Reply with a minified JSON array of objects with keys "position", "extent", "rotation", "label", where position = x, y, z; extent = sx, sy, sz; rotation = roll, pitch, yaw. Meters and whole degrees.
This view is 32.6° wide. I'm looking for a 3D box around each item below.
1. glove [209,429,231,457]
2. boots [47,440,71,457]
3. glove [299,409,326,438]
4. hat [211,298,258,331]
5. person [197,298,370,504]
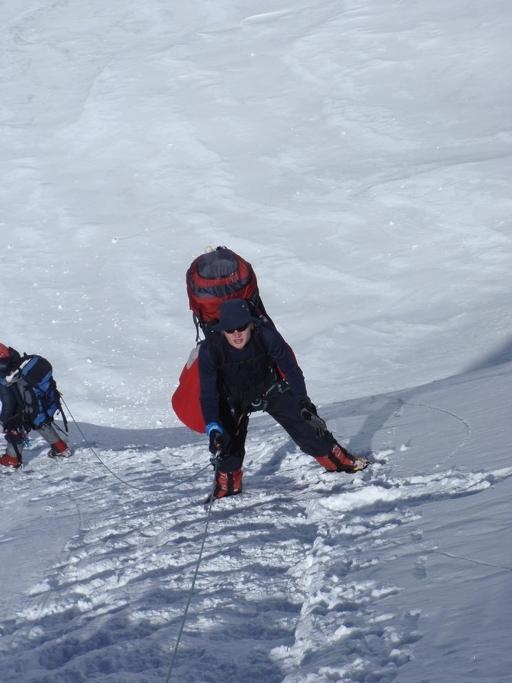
[{"position":[-0.337,0.912,7.904],"extent":[0.218,0.224,0.113],"rotation":[6,-13,-22],"label":"glove"},{"position":[-2.399,1.305,10.651],"extent":[0.298,0.213,0.185],"rotation":[-9,-1,14],"label":"boots"},{"position":[0.560,0.778,8.344],"extent":[0.084,0.319,0.201],"rotation":[-47,31,19],"label":"glove"},{"position":[-0.198,-0.228,7.691],"extent":[0.295,0.151,0.324],"rotation":[-7,19,4],"label":"hat"},{"position":[0.069,0.631,8.225],"extent":[1.407,1.878,0.743],"rotation":[-13,35,-3],"label":"person"}]
